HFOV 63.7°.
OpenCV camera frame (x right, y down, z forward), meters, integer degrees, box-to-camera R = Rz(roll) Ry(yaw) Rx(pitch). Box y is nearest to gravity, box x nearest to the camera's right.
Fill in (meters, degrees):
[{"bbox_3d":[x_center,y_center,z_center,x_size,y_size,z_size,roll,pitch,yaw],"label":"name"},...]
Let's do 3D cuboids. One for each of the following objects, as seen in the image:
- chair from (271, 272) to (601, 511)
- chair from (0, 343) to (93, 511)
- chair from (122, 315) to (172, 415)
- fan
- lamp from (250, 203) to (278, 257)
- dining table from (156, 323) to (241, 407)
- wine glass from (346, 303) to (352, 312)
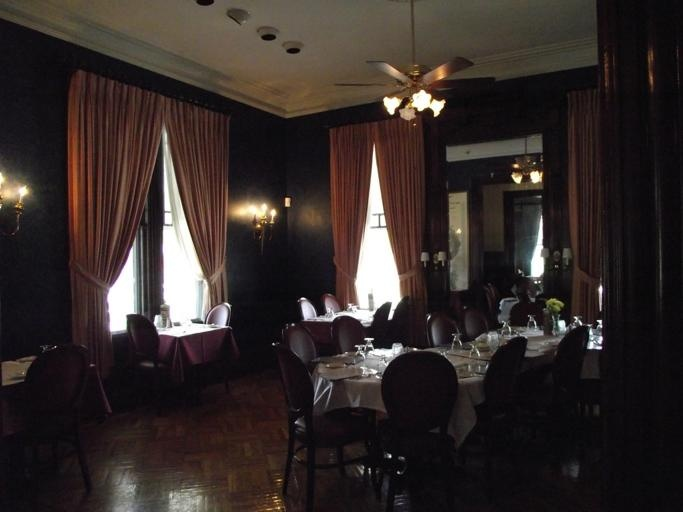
[{"bbox_3d":[0.716,1.132,3.894,2.302,1.127,1.415,-3,4,-8],"label":"chair"},{"bbox_3d":[-2.116,1.183,4.035,0.504,1.118,0.583,-4,5,-34],"label":"chair"},{"bbox_3d":[-2.030,1.115,5.810,0.399,1.046,0.584,-3,5,-22],"label":"chair"},{"bbox_3d":[0.785,-1.555,5.264,1.230,1.468,1.270,2,5,15],"label":"fan"},{"bbox_3d":[-1.092,-0.392,8.028,0.178,0.750,0.618,0,5,24],"label":"lamp"},{"bbox_3d":[-1.661,1.135,6.010,0.719,0.630,0.752,-2,-1,37],"label":"dining table"},{"bbox_3d":[0.098,0.684,7.210,0.068,0.088,0.071,0,-3,6],"label":"wine glass"}]
